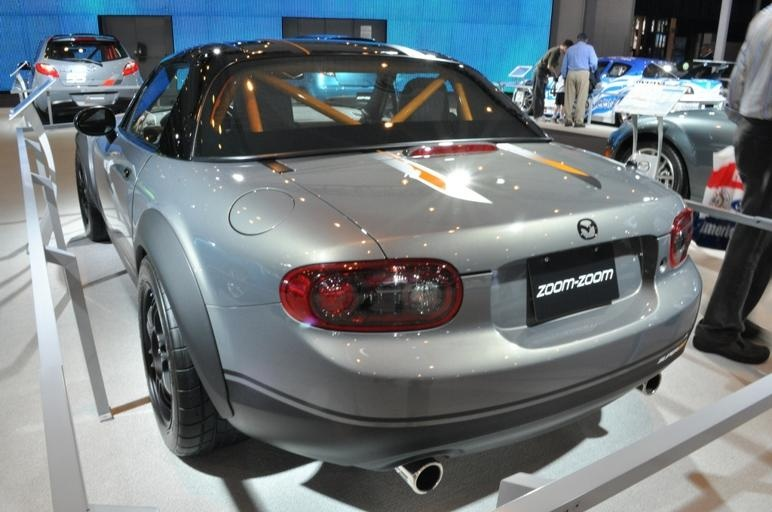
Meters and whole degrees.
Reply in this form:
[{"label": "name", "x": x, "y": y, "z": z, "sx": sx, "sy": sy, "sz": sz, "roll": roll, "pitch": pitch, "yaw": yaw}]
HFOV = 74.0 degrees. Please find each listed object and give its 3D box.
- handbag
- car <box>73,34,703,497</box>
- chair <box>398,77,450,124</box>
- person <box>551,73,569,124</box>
[{"label": "handbag", "x": 2.725, "y": -0.421, "z": 4.157, "sx": 0.327, "sy": 0.804, "sz": 0.311, "roll": 21, "pitch": 15, "yaw": 36}, {"label": "car", "x": -0.352, "y": -0.547, "z": 3.864, "sx": 2.513, "sy": 1.728, "sz": 4.984, "roll": -8, "pitch": 22, "yaw": -24}, {"label": "chair", "x": 0.215, "y": -0.784, "z": 2.812, "sx": 0.222, "sy": 0.307, "sz": 0.339, "roll": 3, "pitch": 0, "yaw": 3}, {"label": "person", "x": 4.080, "y": -3.728, "z": 12.068, "sx": 0.263, "sy": 1.020, "sz": 0.662, "roll": 1, "pitch": 1, "yaw": 22}]
